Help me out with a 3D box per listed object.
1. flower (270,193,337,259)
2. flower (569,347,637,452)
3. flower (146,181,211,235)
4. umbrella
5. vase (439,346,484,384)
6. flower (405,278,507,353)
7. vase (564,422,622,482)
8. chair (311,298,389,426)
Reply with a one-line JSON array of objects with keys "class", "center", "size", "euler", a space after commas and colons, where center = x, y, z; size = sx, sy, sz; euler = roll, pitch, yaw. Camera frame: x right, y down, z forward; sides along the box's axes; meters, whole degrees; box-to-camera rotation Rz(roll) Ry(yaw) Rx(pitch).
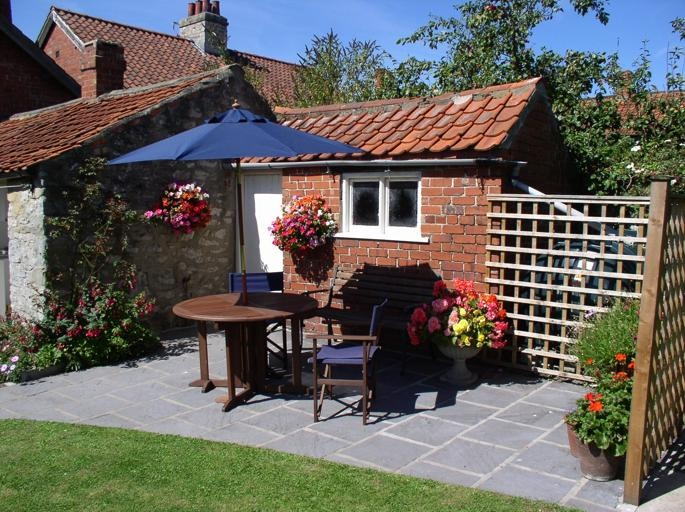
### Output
[{"class": "flower", "center": [-0.720, -0.485, 9.728], "size": [1.041, 0.999, 1.085], "euler": [2, 6, 34]}, {"class": "flower", "center": [2.473, 1.402, 5.636], "size": [0.529, 0.827, 0.761], "euler": [5, 12, 26]}, {"class": "flower", "center": [-2.736, -0.824, 9.938], "size": [1.007, 0.691, 0.514], "euler": [-11, -15, -29]}, {"class": "umbrella", "center": [-1.447, -0.515, 7.824], "size": [2.780, 1.893, 2.715], "euler": [-5, 7, -15]}, {"class": "vase", "center": [1.576, 1.395, 7.794], "size": [0.682, 0.523, 0.726], "euler": [1, 2, 18]}, {"class": "flower", "center": [1.563, 0.920, 7.883], "size": [1.250, 1.034, 1.266], "euler": [3, 6, 24]}, {"class": "vase", "center": [2.357, 1.926, 5.616], "size": [0.514, 0.367, 0.488], "euler": [-1, 7, -9]}, {"class": "chair", "center": [0.063, 1.219, 7.322], "size": [1.246, 1.782, 1.324], "euler": [1, 0, 5]}]
